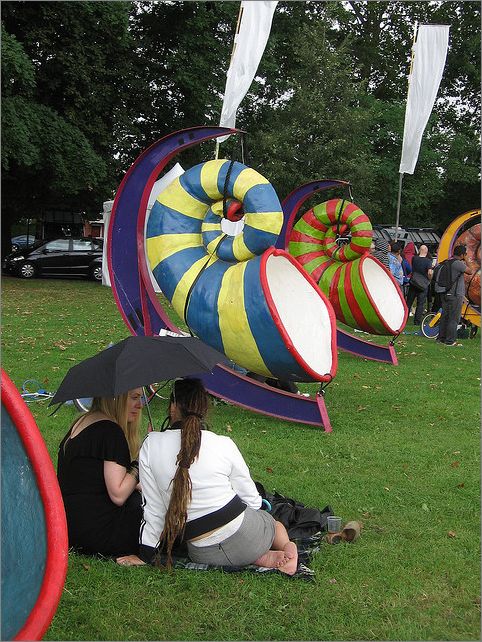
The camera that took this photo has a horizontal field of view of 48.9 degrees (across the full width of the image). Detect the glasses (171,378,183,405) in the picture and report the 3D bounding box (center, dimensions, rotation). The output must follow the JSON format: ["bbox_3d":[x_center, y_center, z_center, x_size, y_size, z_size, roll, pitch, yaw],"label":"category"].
[{"bbox_3d":[-0.343,0.377,2.806,0.082,0.104,0.061,-1,1,-18],"label":"glasses"}]

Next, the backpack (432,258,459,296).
[{"bbox_3d":[4.433,-0.974,11.592,0.269,0.781,0.597,1,6,-18],"label":"backpack"}]

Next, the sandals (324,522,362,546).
[{"bbox_3d":[0.656,1.340,3.319,0.263,0.088,0.078,-21,13,-33],"label":"sandals"}]

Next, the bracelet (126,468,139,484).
[{"bbox_3d":[-0.585,0.841,2.886,0.077,0.076,0.080,3,4,13],"label":"bracelet"}]

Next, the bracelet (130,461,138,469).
[{"bbox_3d":[-0.591,0.800,2.945,0.035,0.022,0.043,2,-13,-16],"label":"bracelet"}]

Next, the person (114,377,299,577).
[{"bbox_3d":[-0.184,0.968,3.243,1.093,1.075,0.685,0,10,4],"label":"person"}]

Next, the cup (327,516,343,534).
[{"bbox_3d":[0.600,1.296,3.370,0.099,0.071,0.098,0,-5,0],"label":"cup"}]

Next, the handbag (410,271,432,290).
[{"bbox_3d":[4.681,-1.046,13.852,0.478,0.470,0.289,4,6,12],"label":"handbag"}]
